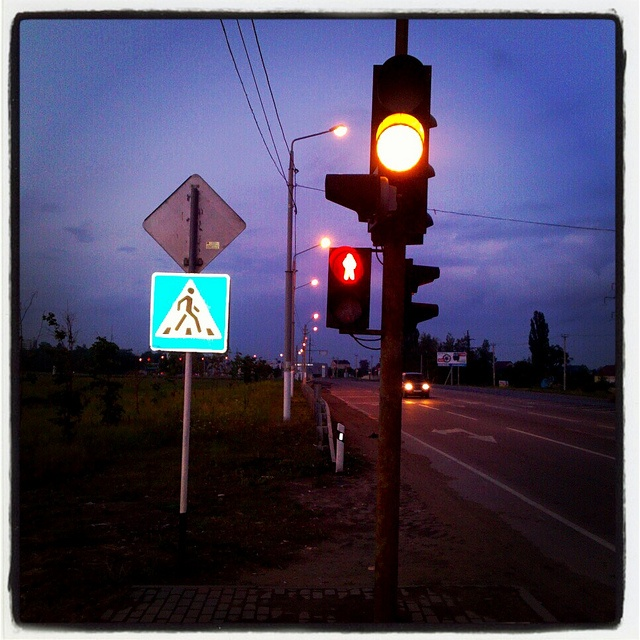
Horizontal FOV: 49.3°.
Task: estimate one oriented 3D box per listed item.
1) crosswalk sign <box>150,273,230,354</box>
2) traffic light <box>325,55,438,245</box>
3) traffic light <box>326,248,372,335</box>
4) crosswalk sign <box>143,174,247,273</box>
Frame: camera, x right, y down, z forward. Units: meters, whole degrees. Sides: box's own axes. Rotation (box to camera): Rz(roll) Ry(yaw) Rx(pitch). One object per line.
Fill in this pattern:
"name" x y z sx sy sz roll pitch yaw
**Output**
"crosswalk sign" -1.135 -0.038 6.043 0.483 0.696 0.058 0 -6 0
"traffic light" 0.551 -1.151 4.810 0.315 1.436 0.793 2 -7 7
"traffic light" 0.209 -0.227 5.015 0.304 0.448 0.241 2 -1 1
"crosswalk sign" -1.130 -0.829 6.175 0.966 1.294 0.101 -4 -11 -2
